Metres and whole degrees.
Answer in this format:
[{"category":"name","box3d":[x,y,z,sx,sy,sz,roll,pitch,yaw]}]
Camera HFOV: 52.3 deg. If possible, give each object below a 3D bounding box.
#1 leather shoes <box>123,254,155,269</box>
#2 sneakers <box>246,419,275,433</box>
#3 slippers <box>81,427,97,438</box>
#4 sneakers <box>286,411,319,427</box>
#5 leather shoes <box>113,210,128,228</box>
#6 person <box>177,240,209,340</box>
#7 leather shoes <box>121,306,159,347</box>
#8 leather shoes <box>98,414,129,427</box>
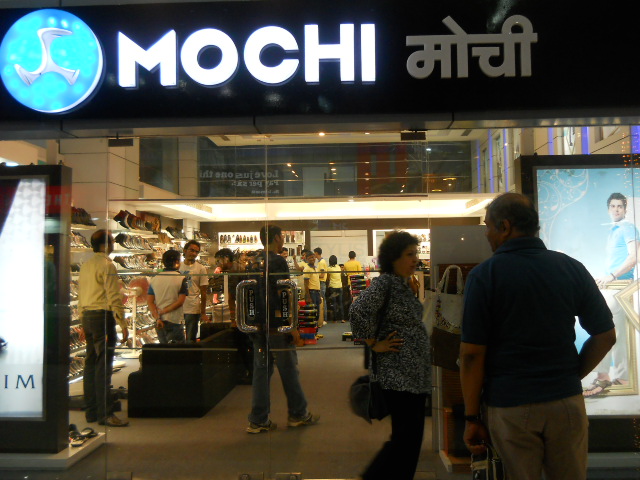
[{"category":"leather shoes","box3d":[-1.594,0.190,5.809,0.150,0.073,0.198,1,-6,1]},{"category":"sneakers","box3d":[-0.507,1.608,5.656,0.276,0.128,0.101,-1,-9,-8]},{"category":"slippers","box3d":[-2.028,1.685,5.698,0.132,0.100,0.074,7,-17,-7]},{"category":"sneakers","box3d":[-0.151,1.553,5.650,0.275,0.122,0.108,-3,-6,-6]},{"category":"leather shoes","box3d":[-1.749,-0.189,5.732,0.137,0.112,0.110,-26,27,-20]},{"category":"person","box3d":[-1.109,0.452,5.721,0.180,0.897,0.265,0,-4,-43]},{"category":"leather shoes","box3d":[-1.587,0.778,5.828,0.269,0.370,0.136,-3,9,-4]},{"category":"leather shoes","box3d":[-1.802,1.564,5.701,0.241,0.097,0.119,-1,-10,5]}]
